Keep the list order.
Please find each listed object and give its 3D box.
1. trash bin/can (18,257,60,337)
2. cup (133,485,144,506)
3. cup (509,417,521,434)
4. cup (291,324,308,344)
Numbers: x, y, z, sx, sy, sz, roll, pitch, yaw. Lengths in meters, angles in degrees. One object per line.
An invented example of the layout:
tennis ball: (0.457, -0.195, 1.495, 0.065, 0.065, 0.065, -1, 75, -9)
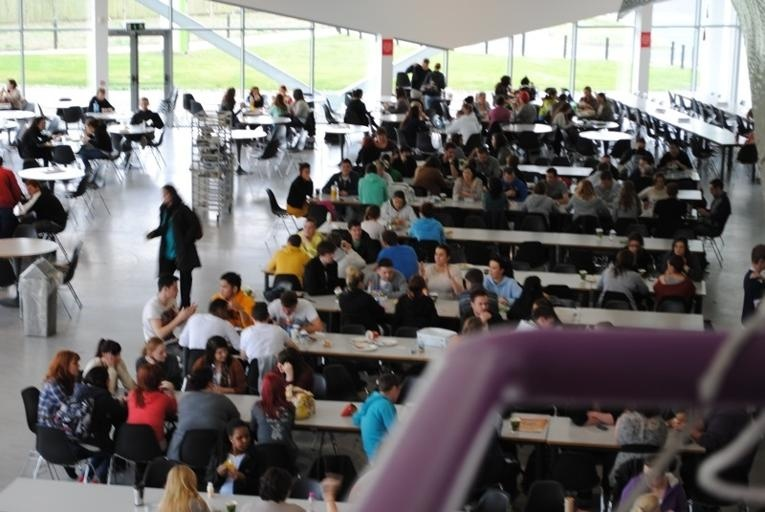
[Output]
trash bin/can: (-4.132, 0.504, 8.350, 0.451, 0.956, 0.346, -1, 7, -23)
cup: (-1.617, 1.593, 4.606, 0.057, 0.148, 0.096, -1, 7, -20)
cup: (1.085, 1.400, 5.677, 0.103, 0.102, 0.096, -1, 9, 0)
cup: (-0.852, 0.789, 7.161, 0.182, 0.144, 0.320, 0, 7, -10)
